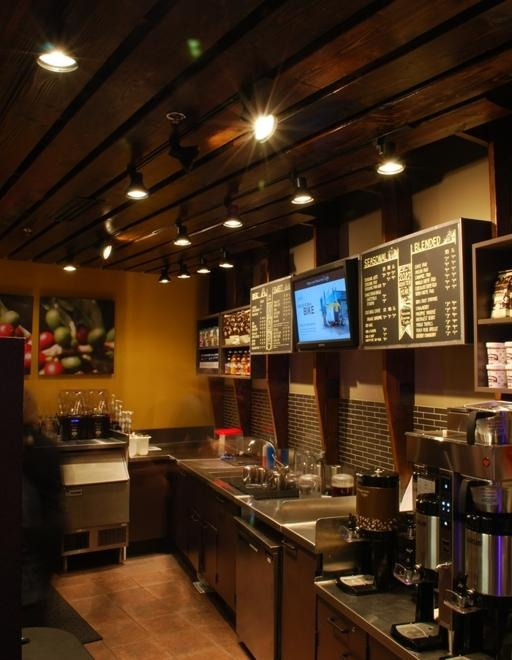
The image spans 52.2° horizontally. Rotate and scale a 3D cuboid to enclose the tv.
[{"bbox_3d":[0.411,-0.131,3.093,0.057,0.589,0.871,2,-5,-24],"label":"tv"}]
